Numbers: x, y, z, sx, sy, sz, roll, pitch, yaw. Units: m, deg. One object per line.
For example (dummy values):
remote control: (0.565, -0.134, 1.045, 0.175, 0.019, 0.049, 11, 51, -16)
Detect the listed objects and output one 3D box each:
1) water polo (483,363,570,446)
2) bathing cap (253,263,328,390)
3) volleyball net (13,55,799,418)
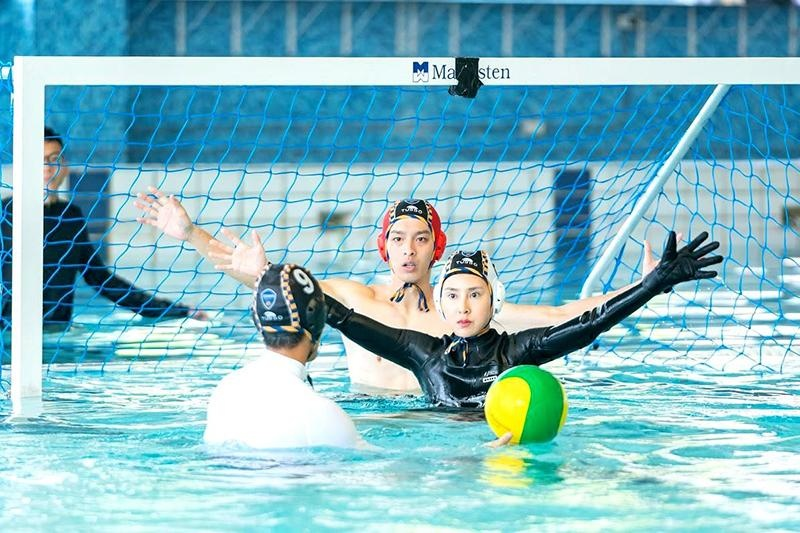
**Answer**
water polo: (0.700, 0.785, 5.315, 0.426, 0.437, 0.435, 0, 0, 1)
bathing cap: (-0.647, 0.250, 5.275, 0.385, 0.488, 0.423, -4, 3, 8)
volleyball net: (0.905, -0.208, 7.753, 3.465, 2.970, 6.801, 0, 7, 3)
